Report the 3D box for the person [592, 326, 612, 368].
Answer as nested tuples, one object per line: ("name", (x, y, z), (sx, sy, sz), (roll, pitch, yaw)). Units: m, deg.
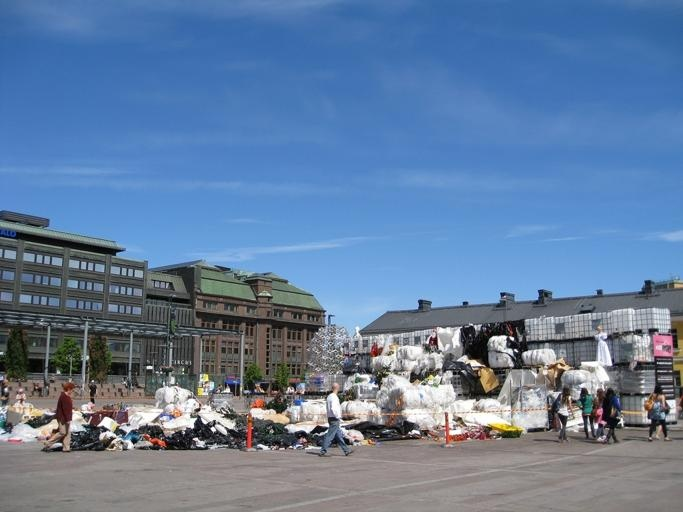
("person", (11.995, 4.096, 40.689), (0.664, 1.968, 1.063), (-6, -10, 15))
